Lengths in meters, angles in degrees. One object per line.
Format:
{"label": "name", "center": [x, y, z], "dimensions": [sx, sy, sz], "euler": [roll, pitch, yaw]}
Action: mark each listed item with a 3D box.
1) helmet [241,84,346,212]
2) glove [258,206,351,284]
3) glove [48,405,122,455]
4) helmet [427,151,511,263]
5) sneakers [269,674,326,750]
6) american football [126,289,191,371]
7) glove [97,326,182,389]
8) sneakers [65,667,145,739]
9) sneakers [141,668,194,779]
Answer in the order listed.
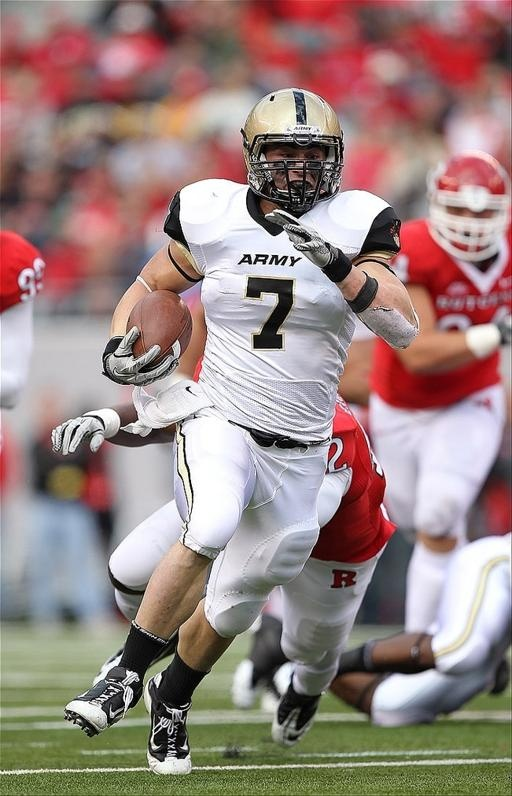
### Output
{"label": "helmet", "center": [0.078, -0.561, 1.904], "dimensions": [0.231, 0.225, 0.278], "euler": [-1, 27, -3]}
{"label": "glove", "center": [0.103, -0.268, 1.605], "dimensions": [0.167, 0.050, 0.101], "euler": [28, 21, -24]}
{"label": "glove", "center": [-0.377, 0.074, 1.856], "dimensions": [0.060, 0.087, 0.144], "euler": [28, 21, 15]}
{"label": "helmet", "center": [0.908, -0.866, 3.906], "dimensions": [0.380, 0.402, 0.491], "euler": [2, 38, 0]}
{"label": "sneakers", "center": [0.113, 0.902, 2.415], "dimensions": [0.086, 0.103, 0.250], "euler": [28, -11, 6]}
{"label": "american football", "center": [-0.204, -0.152, 1.866], "dimensions": [0.132, 0.108, 0.178], "euler": [17, 45, 4]}
{"label": "glove", "center": [-0.223, -0.099, 1.816], "dimensions": [0.082, 0.152, 0.114], "euler": [15, 49, -30]}
{"label": "sneakers", "center": [-0.264, 0.544, 1.575], "dimensions": [0.072, 0.099, 0.217], "euler": [24, 0, 18]}
{"label": "sneakers", "center": [-0.184, 0.701, 1.832], "dimensions": [0.090, 0.106, 0.235], "euler": [2, 64, -21]}
